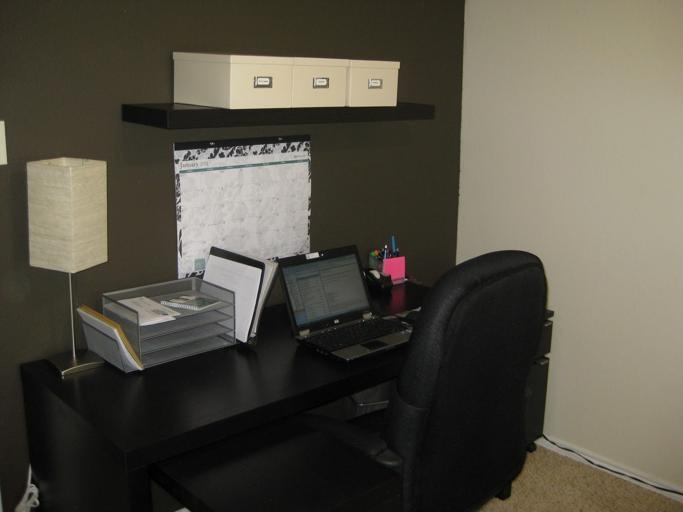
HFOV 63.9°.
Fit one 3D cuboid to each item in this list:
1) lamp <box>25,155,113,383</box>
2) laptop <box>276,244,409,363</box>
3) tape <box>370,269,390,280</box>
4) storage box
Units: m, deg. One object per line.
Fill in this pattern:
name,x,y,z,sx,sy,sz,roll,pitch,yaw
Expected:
lamp,-0.968,0.028,1.975,0.259,0.737,0.270,-13,19,-42
laptop,0.001,0.224,2.336,0.461,0.330,0.457,-14,21,-40
tape,0.189,0.091,2.797,0.049,0.017,0.066,-7,18,-31
storage box,-0.190,-0.717,2.290,0.954,0.216,0.312,-7,16,-28
